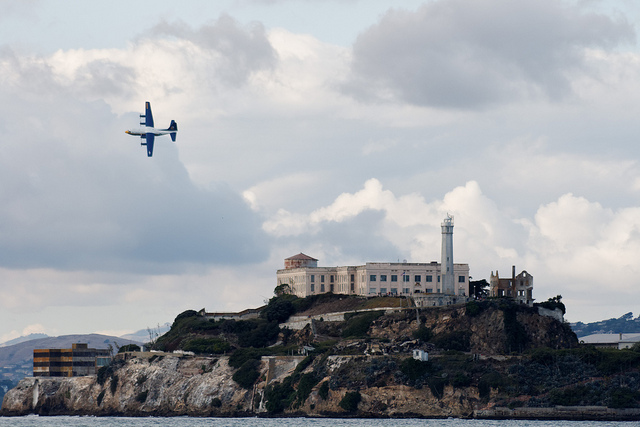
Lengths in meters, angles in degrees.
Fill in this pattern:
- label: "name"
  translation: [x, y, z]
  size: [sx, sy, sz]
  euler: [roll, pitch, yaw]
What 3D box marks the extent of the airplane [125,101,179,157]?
- label: "airplane"
  translation: [-35.548, -18.079, 337.159]
  size: [10.160, 3.804, 12.085]
  euler: [20, -40, -27]
